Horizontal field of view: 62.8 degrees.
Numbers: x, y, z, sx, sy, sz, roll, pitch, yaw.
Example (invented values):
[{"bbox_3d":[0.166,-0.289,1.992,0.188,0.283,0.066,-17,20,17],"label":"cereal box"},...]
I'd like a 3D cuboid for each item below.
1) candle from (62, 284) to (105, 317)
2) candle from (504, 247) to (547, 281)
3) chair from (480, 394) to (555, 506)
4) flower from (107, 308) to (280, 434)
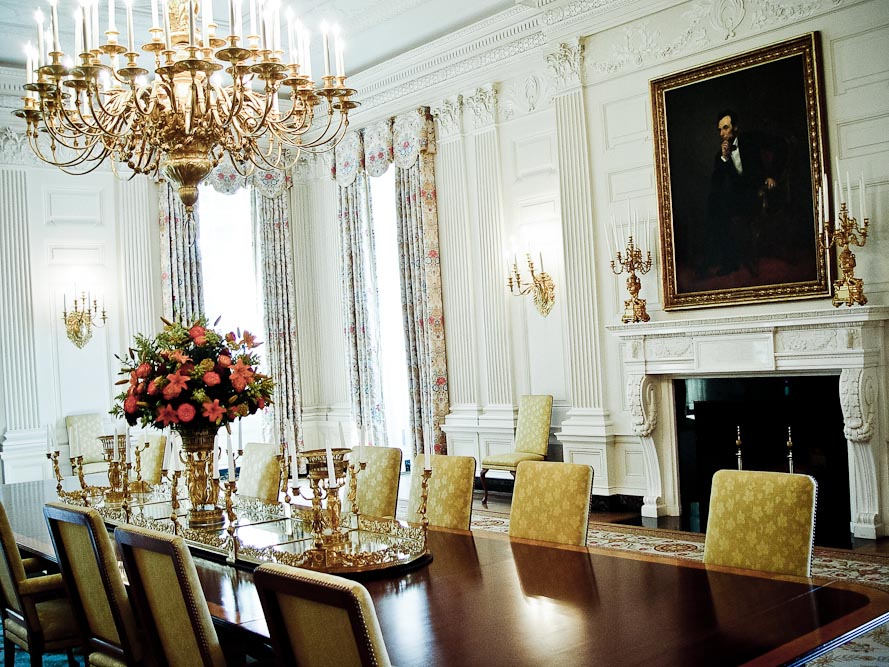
[{"bbox_3d":[-4.155,-0.400,8.355,0.422,0.271,0.146,-3,-1,-29],"label":"candle"},{"bbox_3d":[0.832,-0.741,7.666,0.198,0.292,0.454,-3,-2,-39],"label":"candle"},{"bbox_3d":[0.748,1.162,7.304,0.604,1.103,0.552,3,-5,-33],"label":"chair"},{"bbox_3d":[-1.429,0.360,4.161,0.767,0.788,0.724,-32,-28,33],"label":"flower"}]
